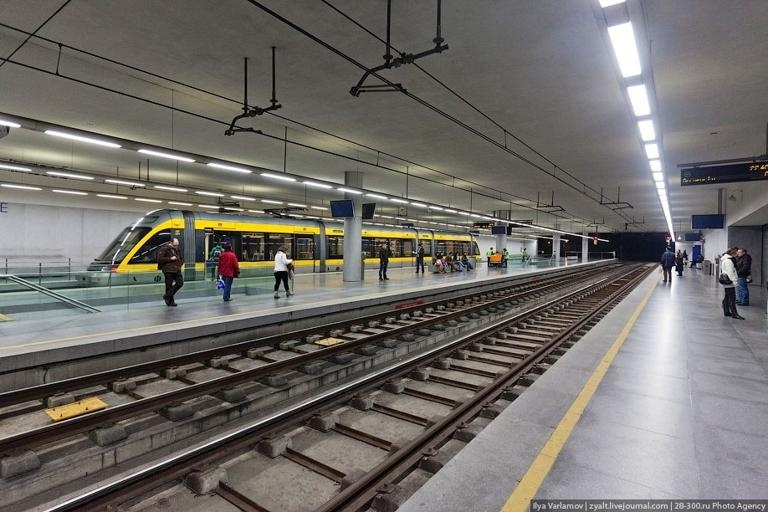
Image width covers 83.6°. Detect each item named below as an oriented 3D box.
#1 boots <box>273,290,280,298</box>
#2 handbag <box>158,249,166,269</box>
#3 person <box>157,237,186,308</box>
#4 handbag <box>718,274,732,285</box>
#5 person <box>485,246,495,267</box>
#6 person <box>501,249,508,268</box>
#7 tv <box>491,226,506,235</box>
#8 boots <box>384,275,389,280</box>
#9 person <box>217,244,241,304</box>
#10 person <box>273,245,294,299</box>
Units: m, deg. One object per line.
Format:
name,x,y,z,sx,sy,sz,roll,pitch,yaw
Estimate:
boots,-3.614,1.275,14.169,0.160,0.248,0.298,5,9,19
handbag,-6.211,0.129,11.946,0.175,0.609,0.345,-2,0,-29
person,-6.036,0.477,12.090,0.462,2.052,0.678,-1,0,32
handbag,9.710,0.669,12.070,0.245,0.268,0.316,-3,-12,19
person,8.147,0.152,32.544,0.427,1.281,1.216,-1,0,15
person,8.919,0.250,31.397,0.389,1.178,2.019,-1,-1,17
tv,8.754,-1.898,32.547,1.348,0.732,0.652,-3,-7,27
boots,0.098,1.083,21.032,0.120,0.204,0.246,5,13,29
person,-4.789,0.542,13.047,0.599,1.779,0.433,-1,0,42
person,-3.454,0.539,14.452,0.651,1.757,1.103,-1,0,-12
